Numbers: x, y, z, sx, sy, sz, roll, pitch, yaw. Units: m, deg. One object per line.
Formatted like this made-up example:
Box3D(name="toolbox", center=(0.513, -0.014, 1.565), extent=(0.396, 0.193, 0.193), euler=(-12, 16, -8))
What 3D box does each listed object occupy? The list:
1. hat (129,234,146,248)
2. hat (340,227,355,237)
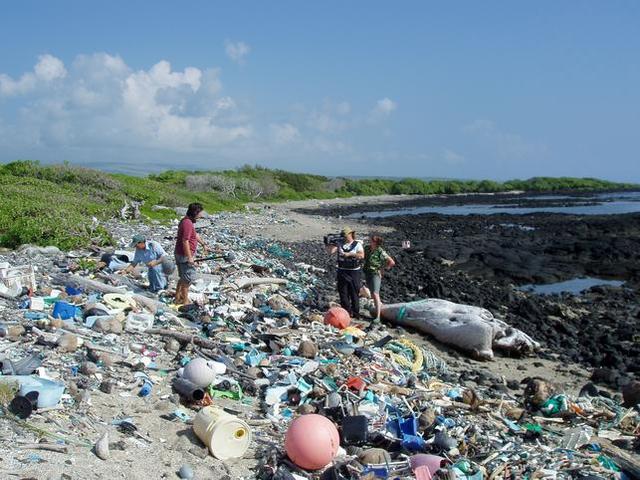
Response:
Box3D(name="hat", center=(-5.108, 0.006, 11.660), extent=(0.552, 0.318, 0.797), euler=(6, 5, -17))
Box3D(name="hat", center=(0.623, -0.197, 9.428), extent=(0.289, 0.241, 0.307), euler=(6, 11, 2))
